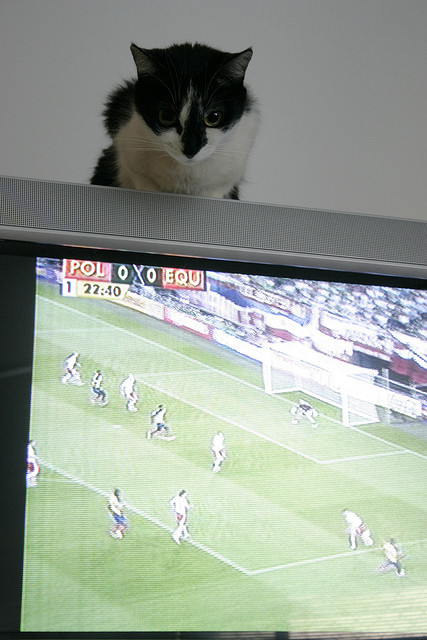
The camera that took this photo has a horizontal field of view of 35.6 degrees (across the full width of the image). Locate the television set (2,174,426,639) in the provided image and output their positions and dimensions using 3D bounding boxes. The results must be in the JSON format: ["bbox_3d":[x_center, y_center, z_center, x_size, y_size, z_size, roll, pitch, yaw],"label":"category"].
[{"bbox_3d":[-0.036,0.249,1.802,1.509,1.099,0.091,2,-11,-13],"label":"television set"}]
